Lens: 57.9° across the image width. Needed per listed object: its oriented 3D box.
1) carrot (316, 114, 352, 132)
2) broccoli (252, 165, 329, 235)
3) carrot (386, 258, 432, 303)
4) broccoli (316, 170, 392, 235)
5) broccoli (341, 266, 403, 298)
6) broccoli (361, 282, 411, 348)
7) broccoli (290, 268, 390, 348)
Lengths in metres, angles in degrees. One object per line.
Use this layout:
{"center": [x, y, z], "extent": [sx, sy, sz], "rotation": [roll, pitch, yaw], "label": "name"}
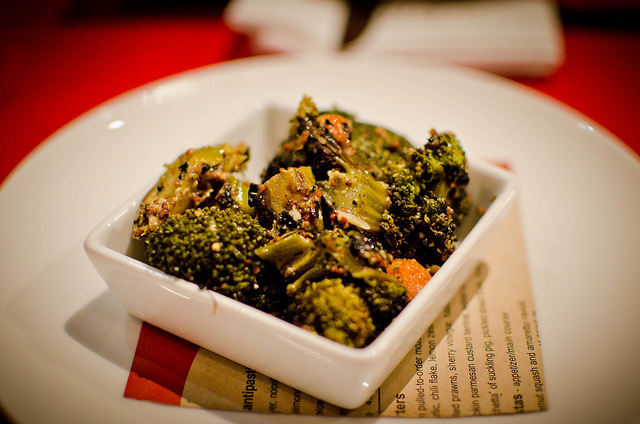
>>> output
{"center": [0.061, -0.485, 3.270], "extent": [0.116, 0.037, 0.124], "rotation": [24, 16, 23], "label": "carrot"}
{"center": [-0.138, -0.044, 3.013], "extent": [0.338, 0.124, 0.337], "rotation": [-33, 72, 4], "label": "broccoli"}
{"center": [0.454, 0.314, 2.939], "extent": [0.177, 0.127, 0.220], "rotation": [11, 30, -12], "label": "carrot"}
{"center": [0.172, -0.076, 3.002], "extent": [0.352, 0.096, 0.280], "rotation": [27, 58, 9], "label": "broccoli"}
{"center": [0.261, 0.328, 2.843], "extent": [0.226, 0.155, 0.107], "rotation": [2, 95, 0], "label": "broccoli"}
{"center": [0.302, 0.482, 2.798], "extent": [0.131, 0.226, 0.289], "rotation": [-1, 42, 48], "label": "broccoli"}
{"center": [0.080, 0.471, 2.799], "extent": [0.427, 0.163, 0.323], "rotation": [42, 69, 15], "label": "broccoli"}
